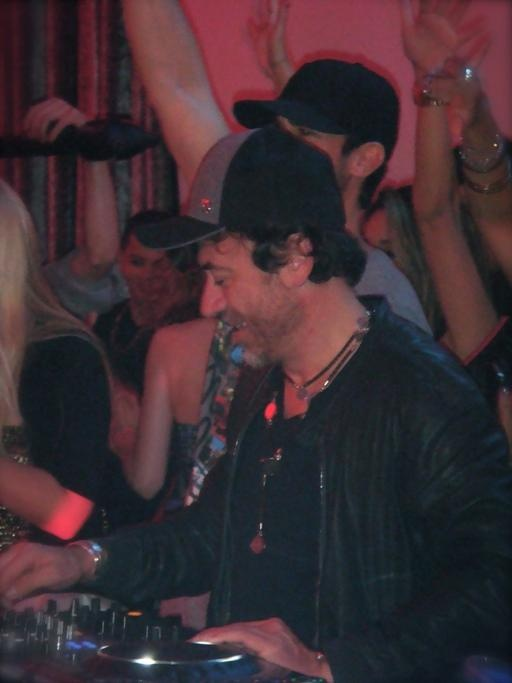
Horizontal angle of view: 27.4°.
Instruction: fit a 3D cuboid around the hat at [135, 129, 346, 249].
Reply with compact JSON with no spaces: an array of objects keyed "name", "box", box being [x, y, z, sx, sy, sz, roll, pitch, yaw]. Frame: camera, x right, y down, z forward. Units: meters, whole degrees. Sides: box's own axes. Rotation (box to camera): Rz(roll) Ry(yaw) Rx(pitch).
[{"name":"hat","box":[0.007,-0.333,2.302,0.373,0.205,0.242,2,9,5]}]
